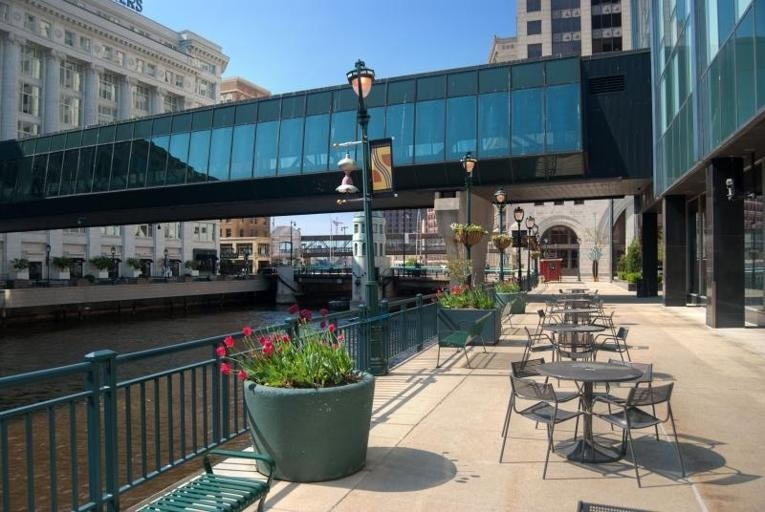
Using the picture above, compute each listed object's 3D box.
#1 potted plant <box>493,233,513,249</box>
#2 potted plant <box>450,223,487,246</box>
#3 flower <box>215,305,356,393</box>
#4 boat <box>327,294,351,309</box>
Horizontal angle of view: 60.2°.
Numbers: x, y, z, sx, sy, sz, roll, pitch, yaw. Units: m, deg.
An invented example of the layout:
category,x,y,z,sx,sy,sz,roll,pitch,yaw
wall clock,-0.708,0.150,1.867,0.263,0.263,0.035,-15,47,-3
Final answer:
category,x,y,z,sx,sy,sz,roll,pitch,yaw
potted plant,5.851,-0.770,32.122,0.884,0.842,0.929,-1,0,5
potted plant,3.097,-0.848,24.168,1.074,0.801,1.138,0,0,12
flower,-1.436,1.839,12.903,1.558,0.854,2.071,1,-1,35
boat,-4.654,4.991,69.368,2.420,1.061,1.616,-3,-1,29
